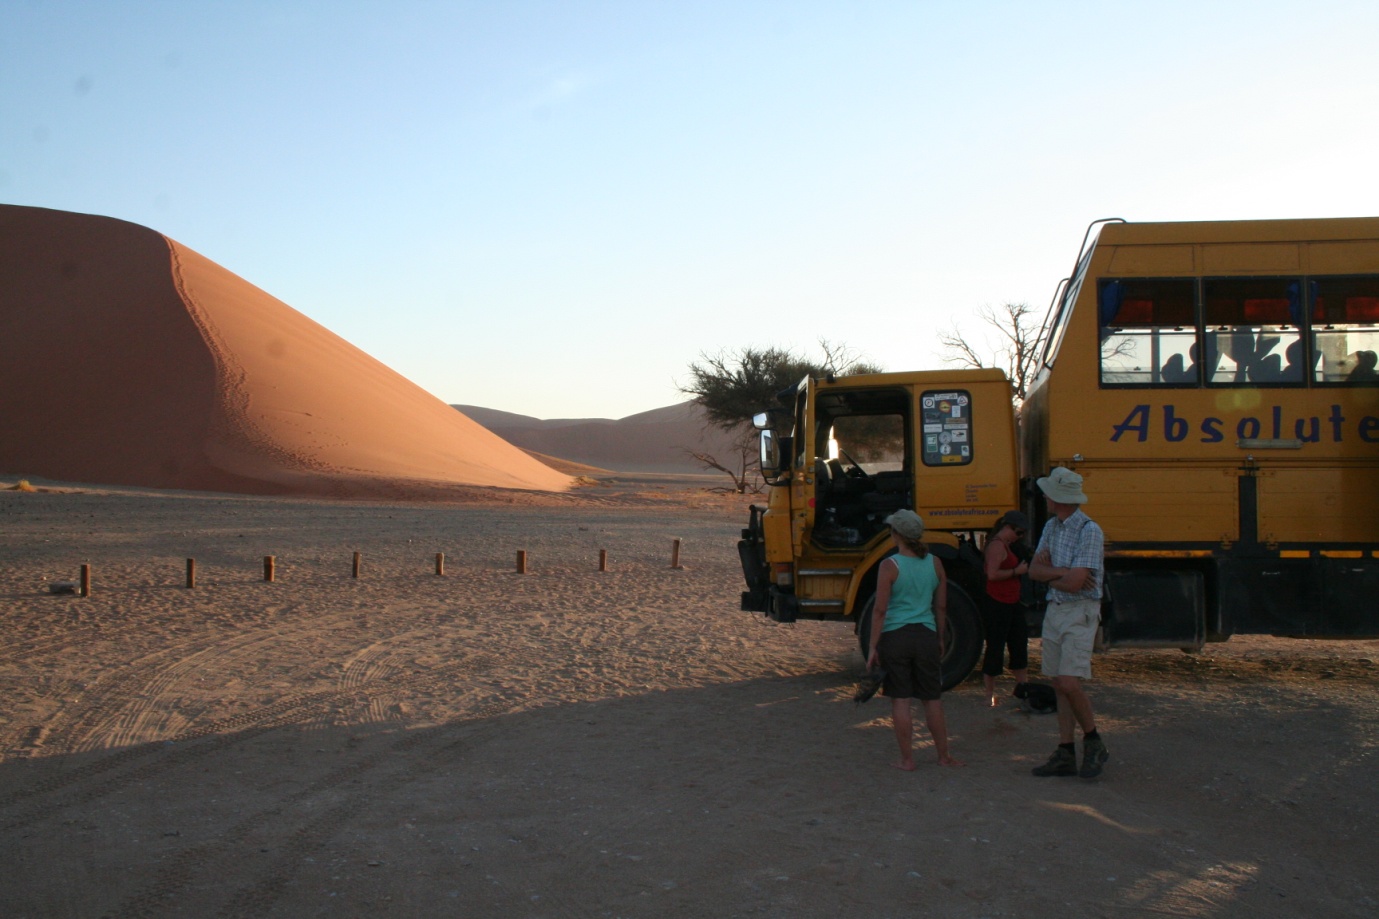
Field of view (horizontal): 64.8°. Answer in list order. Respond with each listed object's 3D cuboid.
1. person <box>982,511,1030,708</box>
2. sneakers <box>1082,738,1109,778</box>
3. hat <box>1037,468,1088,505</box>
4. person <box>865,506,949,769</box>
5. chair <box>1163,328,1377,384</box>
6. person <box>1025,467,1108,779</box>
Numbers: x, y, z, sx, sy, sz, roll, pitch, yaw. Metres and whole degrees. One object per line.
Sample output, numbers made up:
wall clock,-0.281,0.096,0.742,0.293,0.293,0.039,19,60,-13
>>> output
person,3.493,1.648,11.970,0.468,2.092,0.835,2,8,17
sneakers,3.677,2.738,9.850,0.254,0.359,0.122,17,-3,-2
hat,3.417,0.230,10.057,0.367,0.194,0.420,-8,36,-41
person,2.045,1.687,10.165,0.760,2.395,0.610,0,7,5
chair,6.484,-1.154,12.029,2.302,0.604,0.422,-1,7,-5
person,3.472,1.494,9.929,0.702,2.809,0.588,2,8,18
